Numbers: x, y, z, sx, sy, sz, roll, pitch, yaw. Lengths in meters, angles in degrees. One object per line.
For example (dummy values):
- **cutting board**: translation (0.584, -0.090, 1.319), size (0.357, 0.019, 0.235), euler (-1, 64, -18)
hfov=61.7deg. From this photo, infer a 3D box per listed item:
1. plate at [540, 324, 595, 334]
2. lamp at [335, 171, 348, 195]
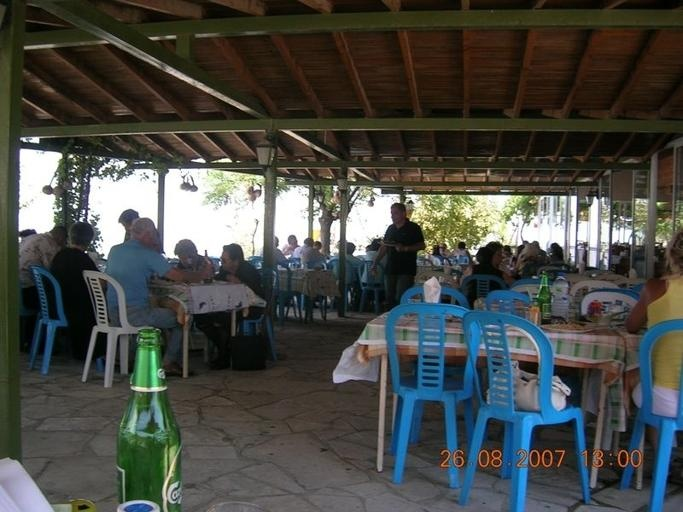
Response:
- **plate**: translation (1.343, 0.425, 3.399), size (0.282, 0.030, 0.340), euler (2, 3, 19)
- **lamp**: translation (0.032, -1.359, 10.696), size (0.175, 0.458, 0.302), euler (1, 3, -3)
